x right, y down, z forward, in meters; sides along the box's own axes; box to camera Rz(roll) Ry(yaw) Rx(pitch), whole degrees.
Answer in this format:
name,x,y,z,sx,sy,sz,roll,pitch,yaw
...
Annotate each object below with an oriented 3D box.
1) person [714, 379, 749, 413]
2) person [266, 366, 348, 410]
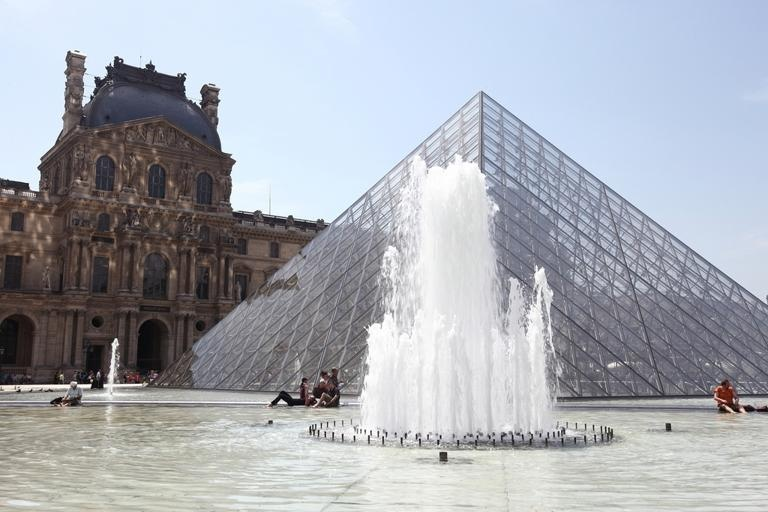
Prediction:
name,x,y,z,sx,sy,sz,roll,pitch,yaw
person,8.766,3.555,18.266,0.660,0.862,0.769,-7,-16,25
person,-2.083,3.707,20.189,1.816,0.961,1.161,-4,-24,9
